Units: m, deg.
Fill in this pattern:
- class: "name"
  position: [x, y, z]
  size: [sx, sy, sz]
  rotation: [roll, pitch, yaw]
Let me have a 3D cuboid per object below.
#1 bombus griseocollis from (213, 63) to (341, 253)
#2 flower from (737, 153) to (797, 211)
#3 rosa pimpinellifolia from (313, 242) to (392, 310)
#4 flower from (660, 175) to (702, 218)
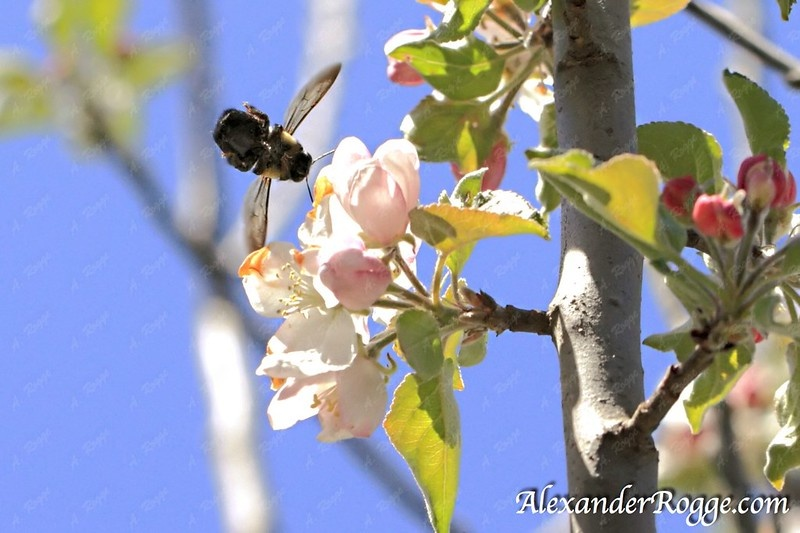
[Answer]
- class: "bombus griseocollis"
  position: [-0.324, -0.256, 4.866]
  size: [0.355, 0.332, 0.636]
  rotation: [-11, 98, -28]
- class: "flower"
  position: [0.886, -0.200, 4.303]
  size: [0.090, 0.095, 0.175]
  rotation: [2, 95, 18]
- class: "rosa pimpinellifolia"
  position: [-0.123, 0.026, 4.352]
  size: [0.170, 0.137, 0.138]
  rotation: [37, 68, 27]
- class: "flower"
  position: [0.683, -0.172, 4.276]
  size: [0.087, 0.061, 0.104]
  rotation: [-39, 97, 18]
